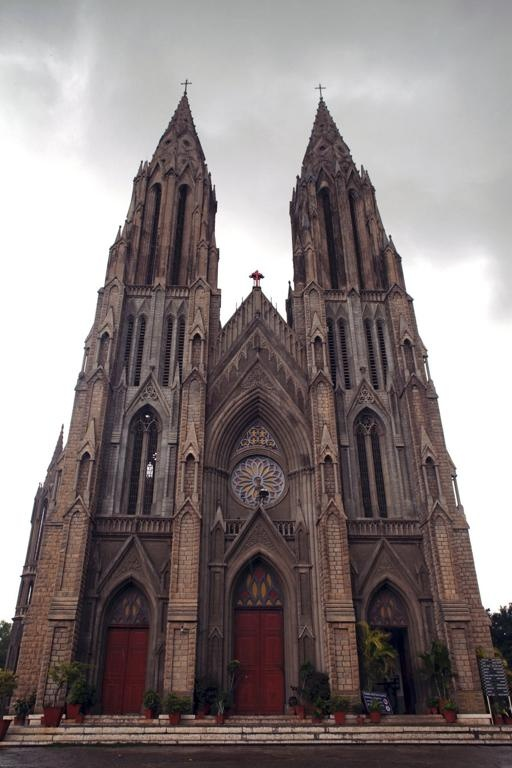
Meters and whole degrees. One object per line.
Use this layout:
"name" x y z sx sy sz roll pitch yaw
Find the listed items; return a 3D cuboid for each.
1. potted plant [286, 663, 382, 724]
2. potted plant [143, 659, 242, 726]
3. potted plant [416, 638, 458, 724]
"potted plant" 2.555 10.228 18.683 3.457 1.804 3.163 -9 -33 12
"potted plant" -2.555 10.526 18.674 3.503 2.336 1.402 0 -42 2
"potted plant" 6.290 10.173 19.099 1.056 2.487 2.424 -9 -31 14
